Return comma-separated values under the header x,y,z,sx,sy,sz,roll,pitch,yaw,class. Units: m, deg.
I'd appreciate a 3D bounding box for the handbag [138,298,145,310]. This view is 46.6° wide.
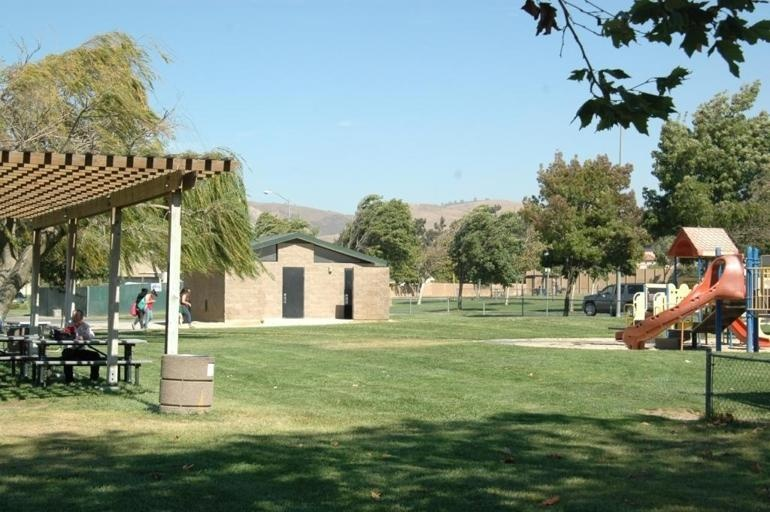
x,y,z,sx,sy,sz,roll,pitch,yaw,class
-9.912,1.988,36.643,0.100,0.345,0.373,33,11,-29,handbag
